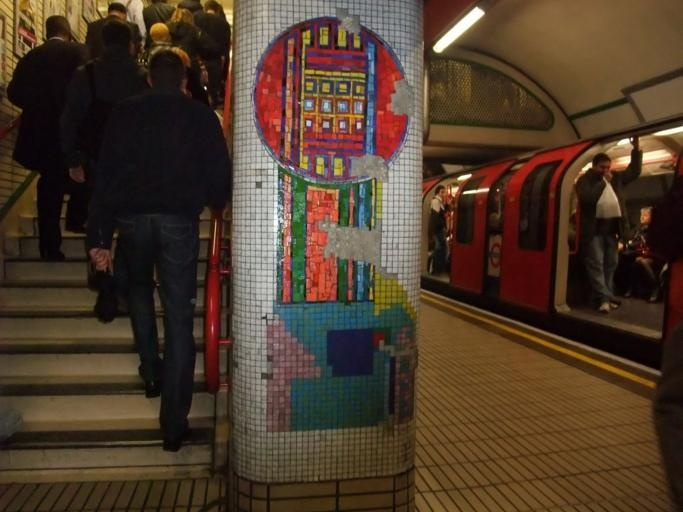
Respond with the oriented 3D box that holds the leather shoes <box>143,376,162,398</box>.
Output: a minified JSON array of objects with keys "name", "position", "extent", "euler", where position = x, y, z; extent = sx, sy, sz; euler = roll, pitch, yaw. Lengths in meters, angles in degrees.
[{"name":"leather shoes","position":[-1.330,0.926,4.184],"extent":[0.124,0.166,0.130],"euler":[0,-1,34]}]

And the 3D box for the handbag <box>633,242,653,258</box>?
[{"name":"handbag","position":[3.875,-0.062,7.529],"extent":[0.232,0.074,0.248],"euler":[-4,12,-27]}]

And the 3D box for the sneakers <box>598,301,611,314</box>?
[{"name":"sneakers","position":[3.398,0.681,7.561],"extent":[0.126,0.123,0.114],"euler":[4,14,17]}]
